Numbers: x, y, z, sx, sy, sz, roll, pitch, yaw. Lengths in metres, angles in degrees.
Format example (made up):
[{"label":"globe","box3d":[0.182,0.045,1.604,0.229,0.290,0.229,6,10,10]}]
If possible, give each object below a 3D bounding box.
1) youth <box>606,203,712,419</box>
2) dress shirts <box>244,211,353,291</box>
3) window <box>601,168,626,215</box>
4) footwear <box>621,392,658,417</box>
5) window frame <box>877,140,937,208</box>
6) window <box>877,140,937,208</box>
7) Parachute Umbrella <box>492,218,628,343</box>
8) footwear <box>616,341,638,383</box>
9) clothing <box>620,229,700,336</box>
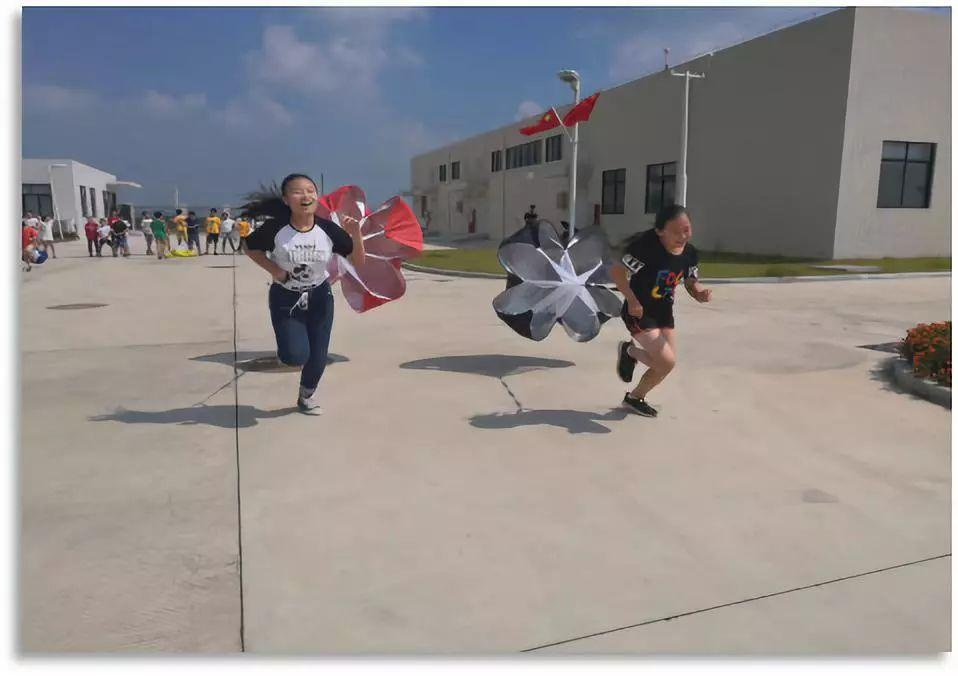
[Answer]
[{"label":"youth","box3d":[1.764,-0.190,6.398,0.874,2.166,0.793,1,19,8]},{"label":"dress shirts","box3d":[-1.698,-0.798,6.365,0.959,0.675,0.294,-3,14,-13]},{"label":"window","box3d":[6.983,-7.600,34.346,0.198,2.615,2.500,-3,5,-20]},{"label":"footwear","box3d":[1.615,0.688,6.716,0.348,0.167,0.137,29,-25,17]},{"label":"window frame","box3d":[14.650,-5.714,22.893,2.260,2.521,0.278,2,4,-10]},{"label":"window","box3d":[14.650,-5.714,22.893,2.260,2.521,0.278,2,4,-10]},{"label":"Parachute Umbrella","box3d":[0.939,-0.658,7.814,1.464,1.446,0.491,-11,1,-17]},{"label":"footwear","box3d":[1.496,0.254,6.837,0.175,0.469,0.213,-10,13,-26]},{"label":"clothing","box3d":[1.695,-0.529,6.301,0.688,0.964,0.341,2,14,9]}]
